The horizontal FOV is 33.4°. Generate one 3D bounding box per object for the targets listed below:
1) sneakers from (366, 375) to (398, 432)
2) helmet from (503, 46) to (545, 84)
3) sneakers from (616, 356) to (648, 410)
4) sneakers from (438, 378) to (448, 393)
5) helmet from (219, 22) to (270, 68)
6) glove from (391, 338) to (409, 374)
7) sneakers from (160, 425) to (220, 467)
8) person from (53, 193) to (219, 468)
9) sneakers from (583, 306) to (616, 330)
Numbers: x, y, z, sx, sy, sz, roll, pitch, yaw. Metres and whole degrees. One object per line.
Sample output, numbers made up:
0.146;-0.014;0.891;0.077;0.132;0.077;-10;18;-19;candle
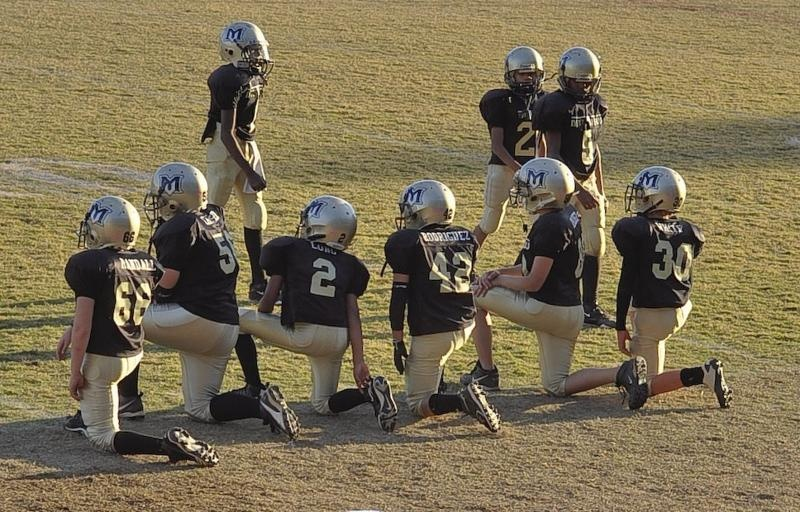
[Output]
-0.165;1.464;13.320;0.236;0.600;0.284;-23;0;-22;sneakers
1.465;-2.204;15.592;0.468;0.443;0.492;1;-2;1;helmet
2.370;1.208;13.605;0.232;0.274;0.594;-17;35;-16;sneakers
0.453;1.343;13.889;0.125;0.154;0.063;1;1;-9;sneakers
-1.709;-2.387;15.162;0.698;0.489;0.464;11;18;14;helmet
-0.034;1.002;13.527;0.130;0.308;0.241;-4;0;16;glove
-1.993;1.815;12.754;0.673;0.228;0.256;17;-7;-13;sneakers
-2.594;0.692;12.784;1.341;2.305;1.038;6;19;2;person
2.285;0.712;15.320;0.512;0.208;0.164;13;7;-4;sneakers
